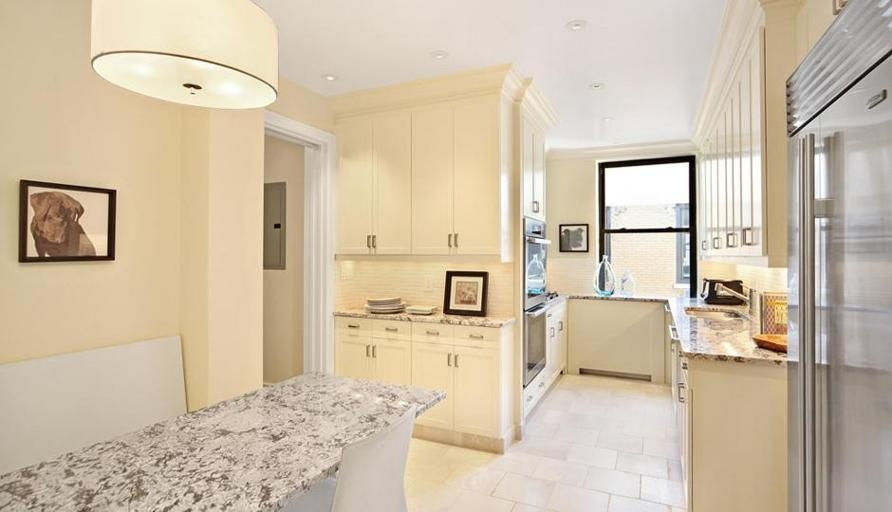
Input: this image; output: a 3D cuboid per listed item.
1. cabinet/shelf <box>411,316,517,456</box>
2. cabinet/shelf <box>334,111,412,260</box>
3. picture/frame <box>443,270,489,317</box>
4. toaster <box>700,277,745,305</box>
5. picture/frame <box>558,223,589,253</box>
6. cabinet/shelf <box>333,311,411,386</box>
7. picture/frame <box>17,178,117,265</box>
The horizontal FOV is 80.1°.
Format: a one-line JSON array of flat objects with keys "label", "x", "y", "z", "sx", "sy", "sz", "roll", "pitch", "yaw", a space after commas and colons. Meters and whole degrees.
[{"label": "cabinet/shelf", "x": 0.155, "y": 1.126, "z": 4.625, "sx": 1.215, "sy": 1.330, "sz": 0.699, "roll": -2, "pitch": -5, "yaw": 21}, {"label": "cabinet/shelf", "x": -0.682, "y": -0.707, "z": 5.062, "sx": 0.797, "sy": 1.302, "sz": 0.444, "roll": 2, "pitch": 15, "yaw": 9}, {"label": "picture/frame", "x": 0.208, "y": 0.358, "z": 4.992, "sx": 0.467, "sy": 0.411, "sz": 0.059, "roll": -1, "pitch": -6, "yaw": 24}, {"label": "toaster", "x": 2.903, "y": 0.379, "z": 5.494, "sx": 0.288, "sy": 0.213, "sz": 0.375, "roll": 0, "pitch": -3, "yaw": 12}, {"label": "picture/frame", "x": 1.737, "y": -0.257, "z": 7.098, "sx": 0.431, "sy": 0.387, "sz": 0.041, "roll": 1, "pitch": -3, "yaw": 24}, {"label": "cabinet/shelf", "x": -0.640, "y": 0.843, "z": 4.849, "sx": 0.716, "sy": 0.602, "sz": 0.289, "roll": -1, "pitch": -3, "yaw": 21}, {"label": "picture/frame", "x": -2.537, "y": -0.235, "z": 3.507, "sx": 0.065, "sy": 0.561, "sz": 0.640, "roll": -2, "pitch": -3, "yaw": 43}]
